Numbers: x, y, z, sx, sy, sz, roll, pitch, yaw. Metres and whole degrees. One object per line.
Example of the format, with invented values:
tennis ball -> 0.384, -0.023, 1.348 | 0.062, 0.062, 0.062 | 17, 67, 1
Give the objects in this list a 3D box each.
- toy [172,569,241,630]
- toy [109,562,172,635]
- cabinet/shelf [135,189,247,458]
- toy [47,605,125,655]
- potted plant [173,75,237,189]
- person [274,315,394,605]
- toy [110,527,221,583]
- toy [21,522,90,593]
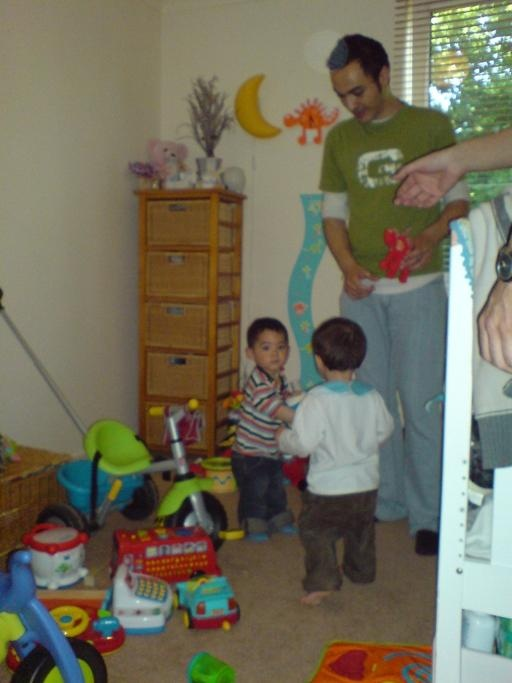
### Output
toy -> -0.125, 0.657, 1.635 | 0.145, 0.095, 0.216 | -1, -1, -19
toy -> -0.283, 0.645, 1.593 | 0.149, 0.121, 0.155 | 0, 5, -8
cabinet/shelf -> -0.283, -0.085, 3.062 | 0.547, 1.258, 0.357 | -1, 5, -17
toy -> -0.382, 0.668, 1.481 | 0.171, 0.053, 0.120 | 17, 6, 12
potted plant -> -0.244, -1.054, 3.162 | 0.250, 0.628, 0.406 | 1, 5, 2
person -> 0.233, 0.320, 1.765 | 0.326, 0.755, 0.232 | 0, 5, -6
toy -> -0.271, 0.614, 1.794 | 0.272, 0.174, 0.146 | 6, -6, -27
toy -> -0.558, 0.603, 1.757 | 0.174, 0.150, 0.178 | -7, -7, 37
